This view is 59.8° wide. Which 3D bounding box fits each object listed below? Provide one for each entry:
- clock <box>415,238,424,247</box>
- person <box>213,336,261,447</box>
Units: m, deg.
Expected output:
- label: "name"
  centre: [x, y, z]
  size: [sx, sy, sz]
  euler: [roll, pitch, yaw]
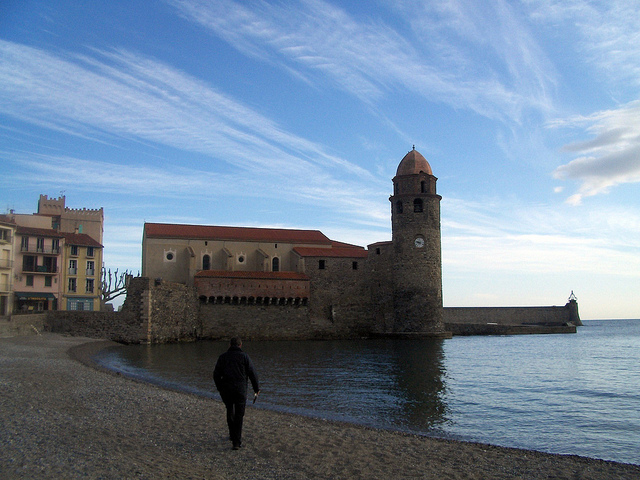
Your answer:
- label: "clock"
  centre: [9.959, 0.253, 56.303]
  size: [1.031, 0.960, 0.133]
  euler: [-1, -21, -13]
- label: "person"
  centre: [-2.249, 4.034, 15.098]
  size: [0.870, 2.749, 0.932]
  euler: [-5, -8, 35]
